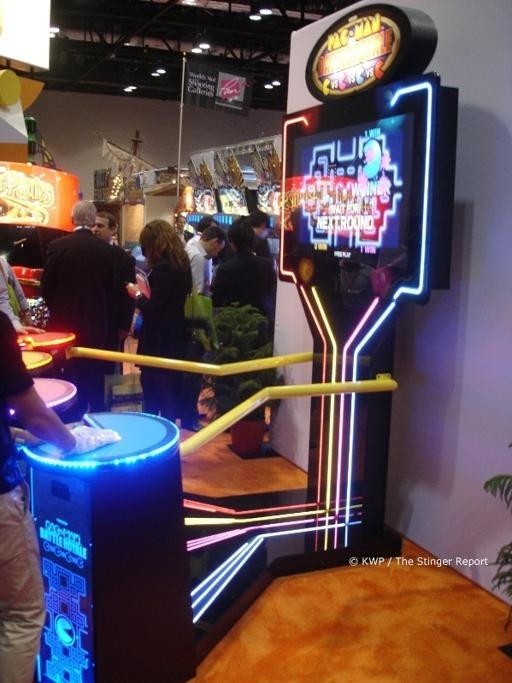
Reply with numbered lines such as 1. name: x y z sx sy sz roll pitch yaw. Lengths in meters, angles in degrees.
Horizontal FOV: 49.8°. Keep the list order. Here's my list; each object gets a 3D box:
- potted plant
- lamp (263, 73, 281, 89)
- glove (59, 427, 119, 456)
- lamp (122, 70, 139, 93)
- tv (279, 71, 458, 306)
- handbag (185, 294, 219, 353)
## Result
1. potted plant: -0.084 0.263 3.654 0.467 0.981 0.446 2 7 -2
2. lamp: 0.340 -5.429 11.467 0.406 0.241 0.390 -4 19 31
3. glove: -0.397 0.231 1.310 0.057 0.023 0.096 9 3 19
4. lamp: -2.702 -5.546 12.020 0.329 0.113 0.473 -4 -28 -6
5. tv: 0.420 -0.612 2.318 0.135 0.794 0.893 -8 14 -32
6. handbag: -0.349 -0.125 3.533 0.220 0.358 0.175 2 7 -8
